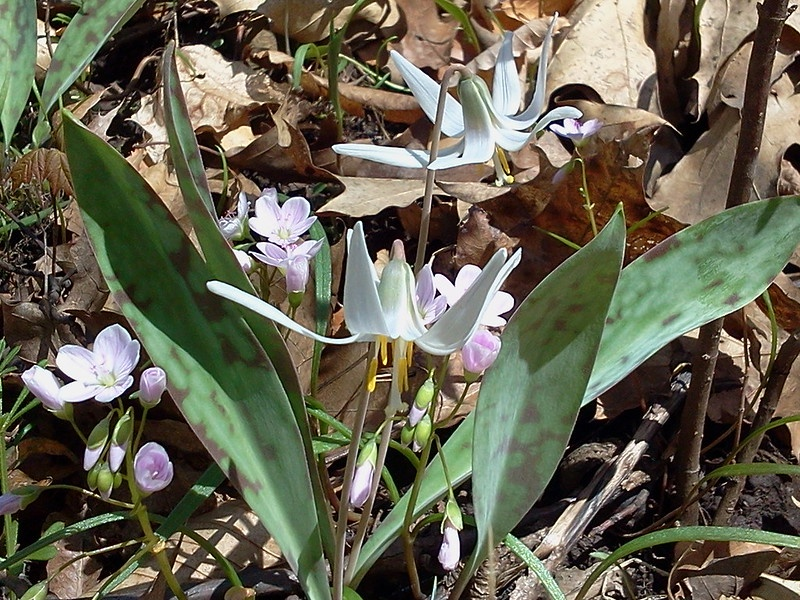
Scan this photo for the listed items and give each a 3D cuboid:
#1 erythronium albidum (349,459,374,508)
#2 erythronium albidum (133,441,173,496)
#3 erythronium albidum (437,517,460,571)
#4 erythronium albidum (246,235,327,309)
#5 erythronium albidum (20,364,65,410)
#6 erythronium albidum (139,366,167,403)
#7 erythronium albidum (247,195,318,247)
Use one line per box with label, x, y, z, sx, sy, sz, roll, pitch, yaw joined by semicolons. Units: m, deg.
erythronium albidum;-0.101;0.477;2.195;0.048;0.042;0.130;13;82;-7
erythronium albidum;-0.650;0.437;2.190;0.094;0.073;0.135;-4;84;-9
erythronium albidum;0.130;0.666;2.273;0.047;0.045;0.139;-13;60;23
erythronium albidum;-0.326;-0.088;2.485;0.212;0.242;0.216;-1;74;-10
erythronium albidum;-0.944;0.219;2.233;0.134;0.056;0.075;36;41;3
erythronium albidum;-0.645;0.226;2.185;0.056;0.109;0.059;9;18;-4
erythronium albidum;-0.372;-0.253;2.714;0.206;0.227;0.129;-3;66;35
